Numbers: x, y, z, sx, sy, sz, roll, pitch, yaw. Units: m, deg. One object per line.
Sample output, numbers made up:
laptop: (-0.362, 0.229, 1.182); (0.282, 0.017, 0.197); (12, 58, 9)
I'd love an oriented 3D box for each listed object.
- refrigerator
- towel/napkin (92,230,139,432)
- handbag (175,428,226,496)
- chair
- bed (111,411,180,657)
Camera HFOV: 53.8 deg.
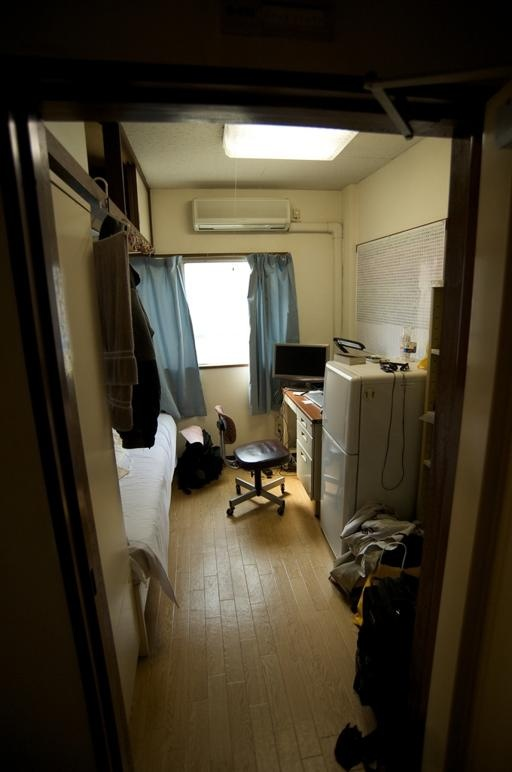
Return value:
refrigerator: (0.568, 0.378, 2.555); (0.384, 1.000, 0.502); (-3, 10, -7)
towel/napkin: (-0.452, -0.154, 1.632); (0.108, 0.646, 0.187); (-4, 10, -16)
handbag: (-0.406, 0.576, 3.690); (0.274, 0.671, 0.437); (3, -10, -8)
chair: (0.002, 0.455, 3.281); (0.482, 0.708, 0.484); (-10, 14, -27)
bed: (-0.461, 0.621, 2.069); (0.223, 0.200, 0.881); (-5, 38, -3)
